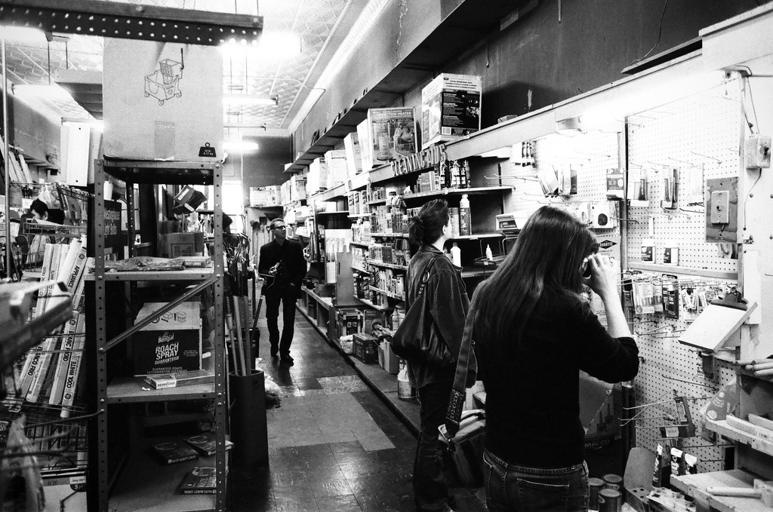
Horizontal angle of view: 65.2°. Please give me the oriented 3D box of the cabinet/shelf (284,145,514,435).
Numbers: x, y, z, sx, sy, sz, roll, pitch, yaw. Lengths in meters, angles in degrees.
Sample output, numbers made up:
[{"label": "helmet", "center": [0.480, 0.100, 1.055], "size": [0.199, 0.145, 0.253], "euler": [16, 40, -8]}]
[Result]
[{"label": "cabinet/shelf", "center": [0.059, 0.339, 5.874], "size": [1.032, 2.692, 3.116], "euler": [2, -5, -11]}]

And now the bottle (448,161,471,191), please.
[{"label": "bottle", "center": [0.632, -0.698, 5.227], "size": [0.166, 0.238, 0.219], "euler": [-1, 7, 3]}]

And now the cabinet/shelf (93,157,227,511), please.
[{"label": "cabinet/shelf", "center": [-1.293, 0.454, 3.510], "size": [0.753, 2.029, 0.535], "euler": [-3, 7, -15]}]

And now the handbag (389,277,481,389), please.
[{"label": "handbag", "center": [0.306, 0.521, 4.185], "size": [0.528, 0.772, 0.247], "euler": [-2, 7, -2]}]
